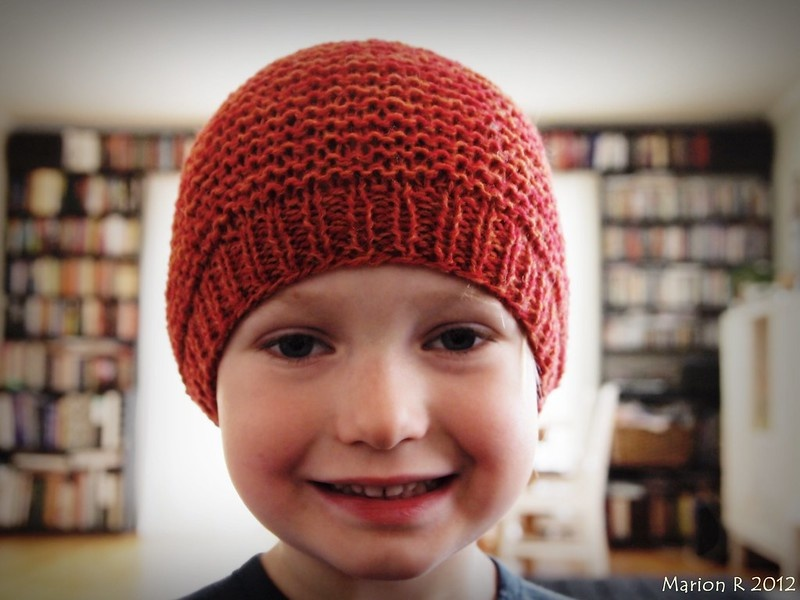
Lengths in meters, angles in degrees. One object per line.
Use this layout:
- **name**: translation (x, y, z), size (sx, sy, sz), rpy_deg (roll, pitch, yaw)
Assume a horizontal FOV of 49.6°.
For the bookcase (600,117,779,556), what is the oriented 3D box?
- **bookcase**: translation (1.043, 0.108, 3.211), size (0.689, 1.617, 0.577), rpy_deg (-3, -7, 23)
